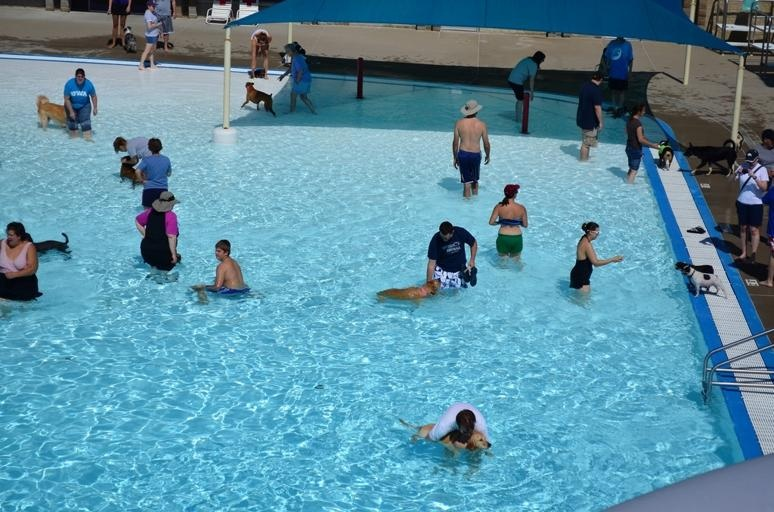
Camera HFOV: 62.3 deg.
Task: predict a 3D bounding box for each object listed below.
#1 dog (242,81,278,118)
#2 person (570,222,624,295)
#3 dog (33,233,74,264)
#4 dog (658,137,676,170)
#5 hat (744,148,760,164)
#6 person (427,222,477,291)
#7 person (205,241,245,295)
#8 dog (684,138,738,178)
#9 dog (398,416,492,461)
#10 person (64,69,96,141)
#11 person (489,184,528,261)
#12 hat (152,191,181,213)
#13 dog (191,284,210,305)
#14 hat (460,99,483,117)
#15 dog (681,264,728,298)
[{"bbox_3d":[-4.178,-5.116,20.874,0.940,0.956,1.571,-6,24,-20],"label":"dog"},{"bbox_3d":[4.136,0.122,12.699,0.911,1.524,0.677,-11,55,7],"label":"person"},{"bbox_3d":[-6.680,-0.176,12.844,0.592,0.322,0.800,-8,24,-25],"label":"dog"},{"bbox_3d":[7.243,-2.645,16.717,0.382,0.509,0.997,5,39,7],"label":"dog"},{"bbox_3d":[7.142,-1.961,12.695,0.367,0.240,0.532,4,7,35],"label":"hat"},{"bbox_3d":[1.233,0.025,11.861,0.948,1.362,0.602,0,28,-9],"label":"person"},{"bbox_3d":[-2.889,0.192,11.572,0.756,1.138,0.489,-1,28,-11],"label":"person"},{"bbox_3d":[8.550,-2.591,16.676,1.043,0.927,1.289,24,30,37],"label":"dog"},{"bbox_3d":[0.794,2.507,8.662,1.091,0.468,0.341,22,48,31],"label":"dog"},{"bbox_3d":[-8.450,-4.197,17.675,0.830,1.936,0.936,-7,29,-21],"label":"person"},{"bbox_3d":[2.489,-0.710,13.051,0.735,1.550,0.682,9,28,9],"label":"person"},{"bbox_3d":[-4.102,-0.998,11.909,0.354,0.361,0.324,13,26,18],"label":"hat"},{"bbox_3d":[-3.390,0.713,11.709,0.269,0.159,0.374,-26,74,-6],"label":"dog"},{"bbox_3d":[2.005,-3.503,15.290,0.355,0.396,0.535,11,24,13],"label":"hat"},{"bbox_3d":[5.867,0.467,11.854,0.839,0.607,0.403,12,27,18],"label":"dog"}]
